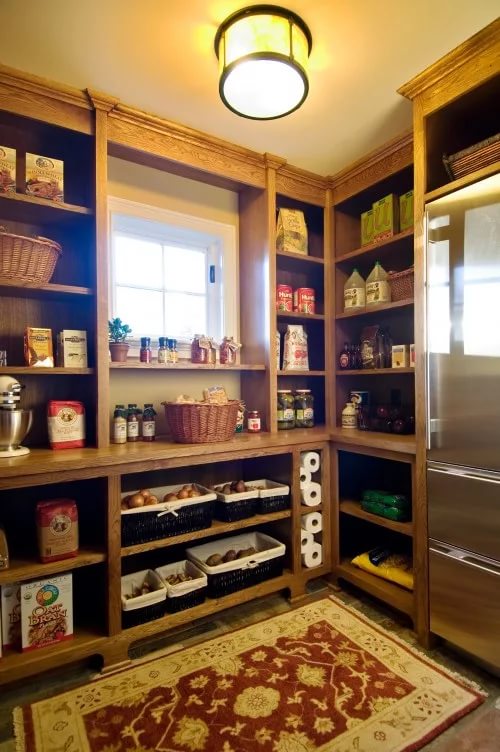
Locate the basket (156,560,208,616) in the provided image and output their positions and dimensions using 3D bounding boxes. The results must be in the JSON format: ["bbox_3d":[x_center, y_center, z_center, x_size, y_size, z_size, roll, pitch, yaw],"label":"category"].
[{"bbox_3d":[-0.293,0.872,2.286,0.131,0.085,0.177,1,-3,-28],"label":"basket"}]

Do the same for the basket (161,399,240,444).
[{"bbox_3d":[-0.223,0.199,2.366,0.231,0.118,0.197,-1,-3,7],"label":"basket"}]

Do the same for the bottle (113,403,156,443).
[{"bbox_3d":[-0.515,0.213,2.398,0.158,0.143,0.055,1,-2,-41],"label":"bottle"}]

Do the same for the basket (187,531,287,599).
[{"bbox_3d":[-0.044,0.831,2.435,0.289,0.107,0.217,-1,1,-41],"label":"basket"}]

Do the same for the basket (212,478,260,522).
[{"bbox_3d":[-0.068,0.555,2.457,0.181,0.117,0.144,-1,1,-41],"label":"basket"}]

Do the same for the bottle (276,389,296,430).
[{"bbox_3d":[0.183,0.183,2.903,0.085,0.199,0.116,-1,4,2],"label":"bottle"}]

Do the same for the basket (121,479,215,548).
[{"bbox_3d":[-0.373,0.558,2.345,0.473,0.169,0.375,-3,5,-29],"label":"basket"}]

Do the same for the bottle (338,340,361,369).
[{"bbox_3d":[0.547,-0.110,3.030,0.141,0.197,0.070,3,-6,-22],"label":"bottle"}]

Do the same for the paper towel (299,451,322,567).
[{"bbox_3d":[0.298,0.642,2.646,0.090,0.553,0.179,1,5,22],"label":"paper towel"}]

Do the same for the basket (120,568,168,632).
[{"bbox_3d":[-0.440,0.885,2.186,0.133,0.108,0.173,3,-4,-25],"label":"basket"}]

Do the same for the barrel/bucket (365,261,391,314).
[{"bbox_3d":[0.648,-0.461,2.777,0.123,0.237,0.213,0,5,11],"label":"barrel/bucket"}]

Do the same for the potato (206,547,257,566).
[{"bbox_3d":[-0.097,0.813,2.457,0.140,0.049,0.098,-2,0,-41],"label":"potato"}]

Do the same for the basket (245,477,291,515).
[{"bbox_3d":[0.077,0.575,2.589,0.115,0.072,0.165,0,0,-23],"label":"basket"}]

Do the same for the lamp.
[{"bbox_3d":[0.045,-1.101,1.948,0.346,0.246,0.351,0,5,6],"label":"lamp"}]

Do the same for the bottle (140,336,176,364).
[{"bbox_3d":[-0.431,-0.115,2.529,0.139,0.128,0.048,1,0,-25],"label":"bottle"}]

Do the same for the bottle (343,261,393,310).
[{"bbox_3d":[0.623,-0.467,2.869,0.109,0.244,0.276,3,-5,-22],"label":"bottle"}]
